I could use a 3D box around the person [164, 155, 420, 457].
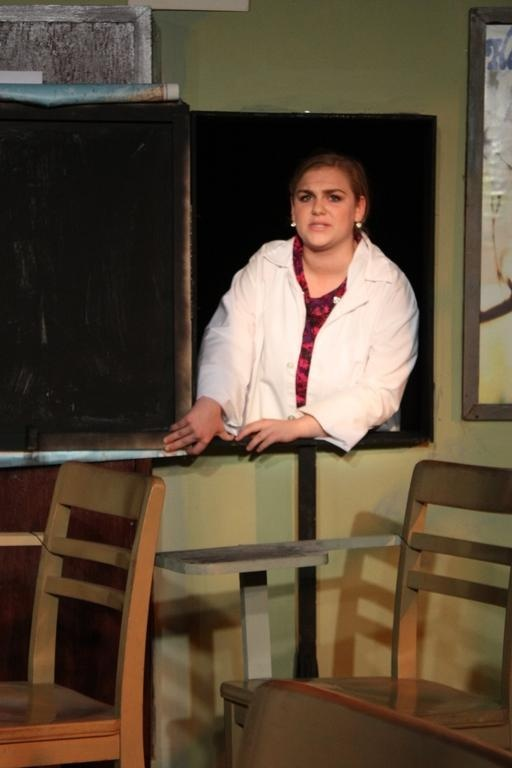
[{"bbox_3d":[0.080,-0.132,1.768,0.535,0.772,0.417,7,7,-9],"label":"person"}]
